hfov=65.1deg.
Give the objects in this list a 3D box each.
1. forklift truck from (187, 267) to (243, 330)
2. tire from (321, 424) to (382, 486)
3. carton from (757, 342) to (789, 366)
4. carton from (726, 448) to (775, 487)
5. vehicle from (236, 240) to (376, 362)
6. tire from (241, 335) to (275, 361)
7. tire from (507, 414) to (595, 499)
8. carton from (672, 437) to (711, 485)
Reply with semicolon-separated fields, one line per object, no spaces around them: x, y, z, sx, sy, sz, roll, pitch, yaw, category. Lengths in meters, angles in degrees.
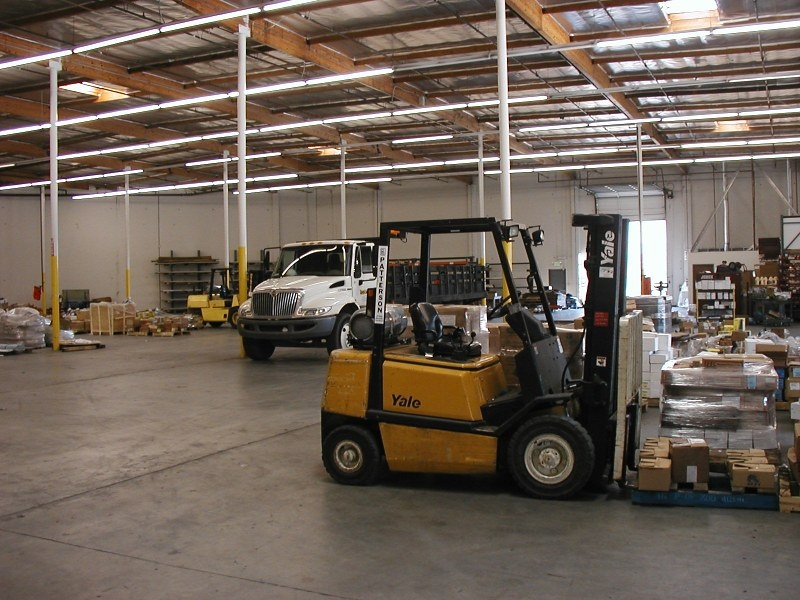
-7.206;-0.057;26.383;3.031;1.822;1.643;-2;-2;13;forklift truck
-0.470;1.498;6.200;0.660;0.491;0.194;-2;-13;18;tire
5.601;0.807;9.391;0.505;0.353;0.301;-1;2;11;carton
3.138;1.497;5.545;0.322;0.140;0.500;-1;1;21;carton
-1.603;-0.295;16.077;3.163;2.317;5.177;3;8;25;vehicle
-3.366;1.082;14.915;0.285;0.546;0.631;-7;11;12;tire
1.352;1.362;5.608;0.970;0.714;0.294;-6;1;13;tire
2.593;1.411;5.554;0.302;0.275;0.491;0;0;15;carton
